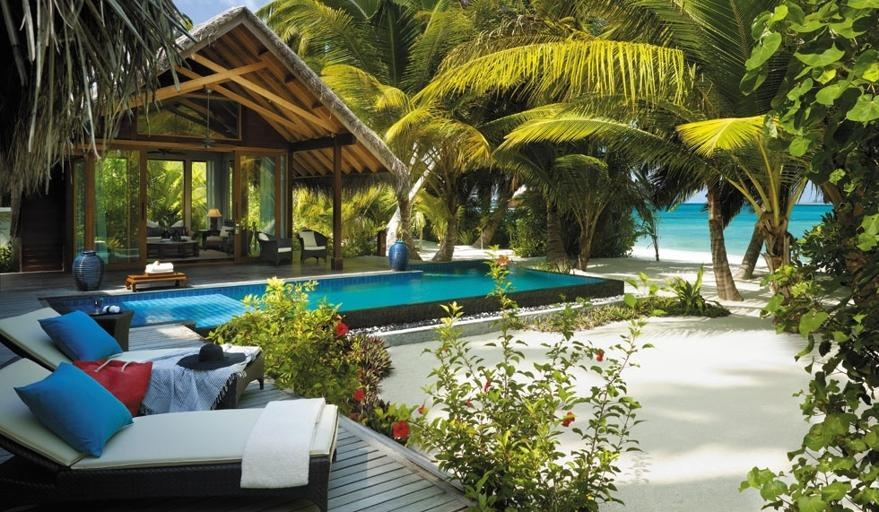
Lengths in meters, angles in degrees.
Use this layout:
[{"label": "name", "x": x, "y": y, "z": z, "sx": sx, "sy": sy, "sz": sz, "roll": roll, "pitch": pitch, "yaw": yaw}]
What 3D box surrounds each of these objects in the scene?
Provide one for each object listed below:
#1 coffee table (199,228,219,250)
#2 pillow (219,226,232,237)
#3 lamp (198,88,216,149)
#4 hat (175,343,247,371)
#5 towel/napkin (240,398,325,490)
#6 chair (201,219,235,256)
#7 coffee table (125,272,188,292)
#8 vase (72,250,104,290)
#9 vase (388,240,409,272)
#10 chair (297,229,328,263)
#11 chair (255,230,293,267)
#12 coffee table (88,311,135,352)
[{"label": "coffee table", "x": -6.874, "y": -0.539, "z": 17.844, "sx": 0.686, "sy": 0.622, "sz": 0.678, "roll": 0, "pitch": -2, "yaw": -12}, {"label": "pillow", "x": -6.136, "y": -0.693, "z": 17.200, "sx": 0.402, "sy": 0.292, "sz": 0.399, "roll": 2, "pitch": 1, "yaw": -10}, {"label": "lamp", "x": -5.397, "y": -3.150, "z": 14.075, "sx": 0.228, "sy": 1.281, "sz": 0.559, "roll": 0, "pitch": 5, "yaw": -22}, {"label": "hat", "x": -2.248, "y": 1.008, "z": 5.882, "sx": 0.327, "sy": 0.091, "sz": 0.340, "roll": 1, "pitch": 9, "yaw": 0}, {"label": "towel/napkin", "x": -1.248, "y": 1.438, "z": 5.049, "sx": 0.555, "sy": 0.263, "sz": 1.158, "roll": -5, "pitch": 16, "yaw": 3}, {"label": "chair", "x": -6.417, "y": -0.507, "z": 17.414, "sx": 1.151, "sy": 0.836, "sz": 0.764, "roll": 3, "pitch": 2, "yaw": 37}, {"label": "coffee table", "x": -5.399, "y": 0.450, "z": 11.420, "sx": 1.027, "sy": 0.299, "sz": 0.720, "roll": -1, "pitch": 6, "yaw": -32}, {"label": "vase", "x": -6.427, "y": 0.241, "z": 10.989, "sx": 0.531, "sy": 0.666, "sz": 0.556, "roll": 7, "pitch": 11, "yaw": 16}, {"label": "vase", "x": -1.009, "y": 0.007, "z": 14.703, "sx": 0.642, "sy": 0.834, "sz": 0.639, "roll": -1, "pitch": -1, "yaw": -6}, {"label": "chair", "x": -3.271, "y": -0.254, "z": 15.684, "sx": 0.808, "sy": 0.840, "sz": 0.825, "roll": 1, "pitch": -1, "yaw": -29}, {"label": "chair", "x": -4.177, "y": -0.215, "z": 15.001, "sx": 0.841, "sy": 0.767, "sz": 0.825, "roll": 2, "pitch": 5, "yaw": 33}, {"label": "coffee table", "x": -3.708, "y": 0.791, "z": 6.983, "sx": 0.470, "sy": 0.494, "sz": 0.507, "roll": -1, "pitch": 6, "yaw": -2}]
